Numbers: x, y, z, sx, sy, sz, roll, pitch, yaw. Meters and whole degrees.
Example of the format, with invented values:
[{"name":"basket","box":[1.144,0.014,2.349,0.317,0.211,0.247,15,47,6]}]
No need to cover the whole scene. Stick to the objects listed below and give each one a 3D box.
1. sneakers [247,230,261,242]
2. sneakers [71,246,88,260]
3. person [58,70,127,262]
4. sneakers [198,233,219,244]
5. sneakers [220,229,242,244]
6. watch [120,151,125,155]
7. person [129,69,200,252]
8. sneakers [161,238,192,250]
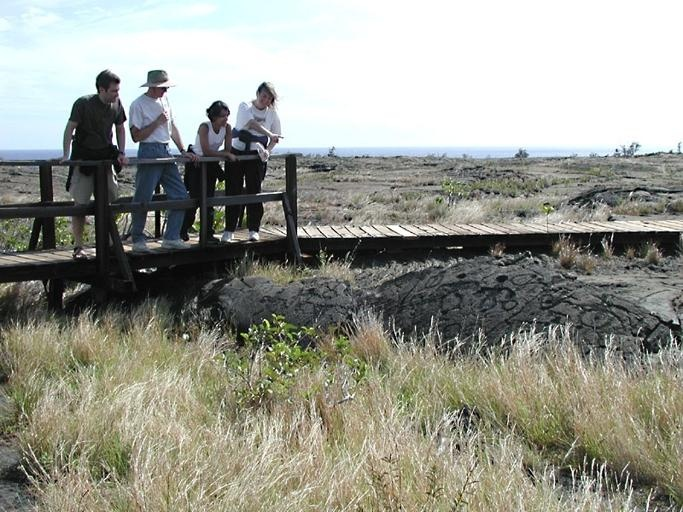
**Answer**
[{"name":"sneakers","box":[-1.469,-0.332,9.589,0.141,0.179,0.392,-2,-3,-11]},{"name":"sneakers","box":[-3.628,-0.026,7.965,0.133,0.143,0.296,0,1,-29]},{"name":"person","box":[-3.157,-1.134,7.419,0.780,2.429,0.973,-5,10,-25]},{"name":"sneakers","box":[-2.067,-0.257,9.130,0.409,0.221,0.171,-1,5,-11]},{"name":"sneakers","box":[-1.850,-0.305,9.418,0.125,0.202,0.417,-1,-5,5]},{"name":"watch","box":[-2.888,-1.366,7.575,0.044,0.052,0.047,2,17,18]},{"name":"person","box":[-2.535,-1.253,7.968,0.837,2.512,1.013,-5,10,-22]},{"name":"sneakers","box":[-2.479,-0.203,8.600,0.420,0.227,0.180,-2,9,-20]}]
